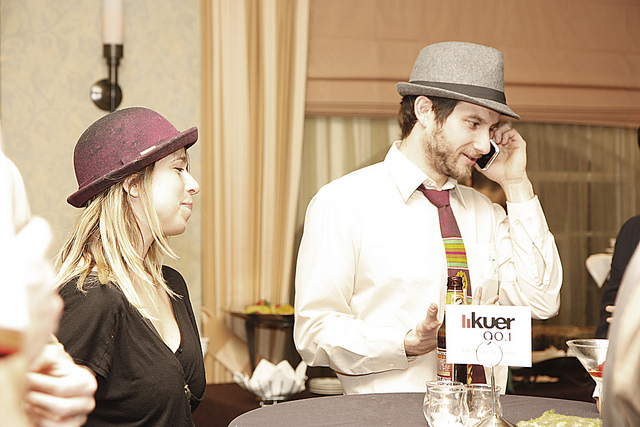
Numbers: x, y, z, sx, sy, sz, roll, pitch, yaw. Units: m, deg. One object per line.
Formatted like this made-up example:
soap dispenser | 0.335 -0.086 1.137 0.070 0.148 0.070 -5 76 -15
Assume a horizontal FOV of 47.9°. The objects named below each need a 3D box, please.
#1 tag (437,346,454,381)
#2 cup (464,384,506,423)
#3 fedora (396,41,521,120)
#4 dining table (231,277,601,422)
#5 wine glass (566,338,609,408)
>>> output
tag | 0.449 0.543 2.542 0.075 0.139 0.078 -4 -4 1
cup | 0.509 0.589 2.250 0.115 0.128 0.123 1 -14 0
fedora | 0.552 -0.530 2.975 0.485 0.323 0.556 -2 6 -43
dining table | 0.336 0.437 2.370 1.095 0.448 0.528 0 1 22
wine glass | 0.849 0.500 2.246 0.112 0.217 0.228 0 1 3
